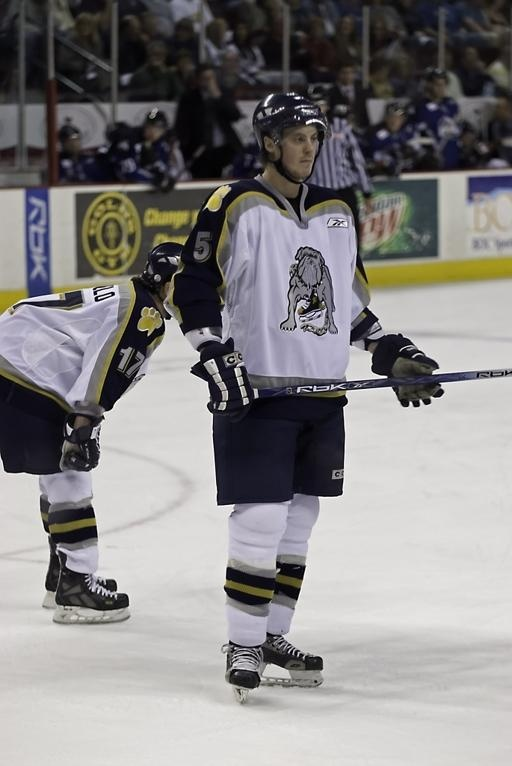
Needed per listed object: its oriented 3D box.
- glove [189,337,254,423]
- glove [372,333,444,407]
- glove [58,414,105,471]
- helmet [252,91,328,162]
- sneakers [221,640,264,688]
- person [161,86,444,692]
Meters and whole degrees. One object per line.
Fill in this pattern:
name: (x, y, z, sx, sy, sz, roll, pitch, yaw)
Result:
glove: (-0.075, -0.012, 1.933, 0.133, 0.157, 0.082, -1, -1, 14)
glove: (0.370, -0.041, 2.284, 0.188, 0.147, 0.084, 51, 28, 19)
glove: (-0.462, 0.161, 2.511, 0.110, 0.150, 0.208, -1, -1, -11)
helmet: (0.066, -0.584, 2.119, 0.169, 0.138, 0.128, -6, -9, 30)
sneakers: (-0.026, 0.600, 2.016, 0.074, 0.084, 0.201, 2, -21, -1)
person: (0.086, 0.011, 2.142, 0.589, 1.327, 0.279, 0, -1, -35)
